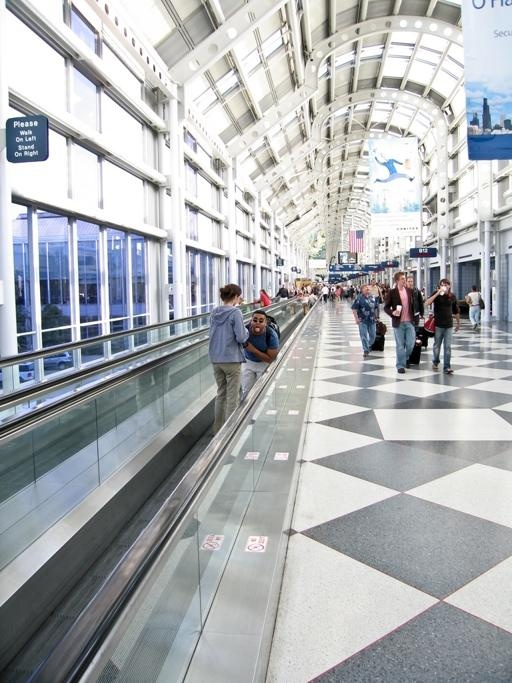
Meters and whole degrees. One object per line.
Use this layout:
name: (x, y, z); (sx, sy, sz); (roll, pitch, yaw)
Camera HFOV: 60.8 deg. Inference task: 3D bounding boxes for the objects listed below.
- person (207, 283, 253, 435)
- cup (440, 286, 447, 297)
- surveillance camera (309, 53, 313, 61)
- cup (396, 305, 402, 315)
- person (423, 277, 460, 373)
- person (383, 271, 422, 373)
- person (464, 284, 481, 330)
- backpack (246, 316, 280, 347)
person: (-0.318, 0.228, 5.090); (0.448, 1.778, 0.666); (-2, 3, -7)
cup: (3.321, -0.908, 7.714); (0.127, 0.165, 0.063); (-2, 3, -18)
surveillance camera: (2.238, -11.612, 17.693); (0.196, 0.370, 0.226); (-1, 3, 10)
cup: (2.641, -0.589, 8.038); (0.096, 0.180, 0.043); (3, -4, -4)
person: (3.429, -0.301, 8.013); (0.492, 1.733, 1.217); (0, 4, 25)
person: (2.785, -0.395, 8.301); (0.419, 1.903, 0.875); (2, 4, 41)
person: (8.132, -1.280, 16.185); (0.505, 1.584, 3.202); (0, 4, 27)
backpack: (0.089, -0.227, 5.526); (0.305, 0.474, 0.430); (9, -8, 10)
